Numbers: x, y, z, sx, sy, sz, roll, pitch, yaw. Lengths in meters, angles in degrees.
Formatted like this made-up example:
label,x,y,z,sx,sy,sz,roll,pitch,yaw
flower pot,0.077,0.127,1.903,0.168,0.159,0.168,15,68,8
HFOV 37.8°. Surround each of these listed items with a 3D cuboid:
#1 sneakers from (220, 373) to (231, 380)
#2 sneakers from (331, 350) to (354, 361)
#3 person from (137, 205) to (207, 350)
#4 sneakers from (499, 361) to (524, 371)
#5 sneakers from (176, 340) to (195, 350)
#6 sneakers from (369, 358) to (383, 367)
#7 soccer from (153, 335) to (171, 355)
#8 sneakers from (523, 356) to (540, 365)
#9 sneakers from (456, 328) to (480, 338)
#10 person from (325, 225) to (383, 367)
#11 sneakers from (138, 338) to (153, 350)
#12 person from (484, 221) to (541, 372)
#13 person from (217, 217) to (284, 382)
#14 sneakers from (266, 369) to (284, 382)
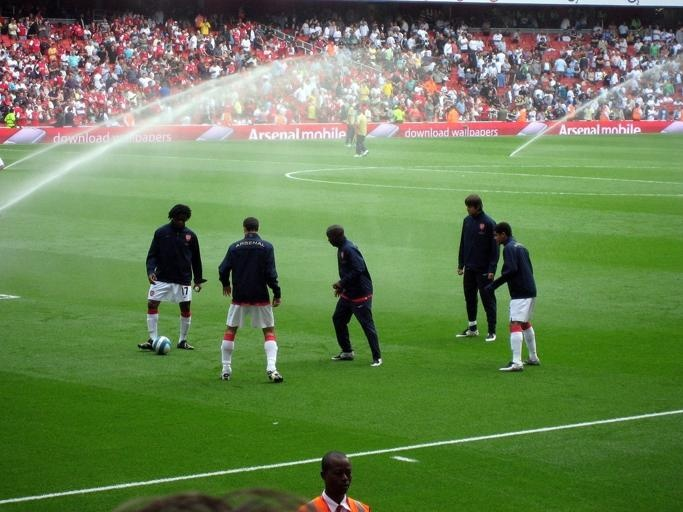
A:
label,x,y,z,sx,sy,sz,roll,pitch,yaw
sneakers,-1.801,1.884,15.421,0.104,0.071,0.141,1,4,-11
sneakers,0.030,1.665,16.559,0.393,0.195,0.140,2,3,2
person,-2.855,0.385,16.742,1.042,2.485,0.745,-2,12,-11
sneakers,2.722,1.781,15.962,0.421,0.189,0.159,-1,-2,3
sneakers,-2.684,1.534,17.054,0.323,0.152,0.129,1,7,28
sneakers,0.574,1.756,16.234,0.243,0.120,0.083,-5,10,-20
soccer,-3.000,1.489,16.736,0.263,0.310,0.266,13,14,39
sneakers,3.100,1.723,16.247,0.269,0.138,0.111,2,5,11
sneakers,2.266,1.395,17.873,0.457,0.210,0.164,0,2,-2
person,0.214,0.613,16.385,0.865,2.340,1.320,1,12,2
sneakers,-3.333,1.518,16.903,0.373,0.197,0.133,5,2,23
person,2.850,0.654,16.185,0.820,2.352,1.250,3,12,11
person,-1.401,0.696,15.351,0.983,2.452,0.759,0,11,0
sneakers,-1.021,1.869,15.304,0.142,0.125,0.254,-37,-45,24
